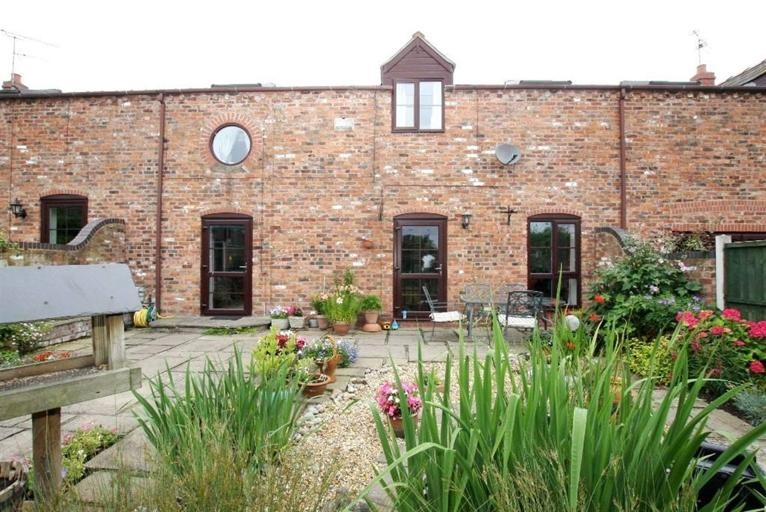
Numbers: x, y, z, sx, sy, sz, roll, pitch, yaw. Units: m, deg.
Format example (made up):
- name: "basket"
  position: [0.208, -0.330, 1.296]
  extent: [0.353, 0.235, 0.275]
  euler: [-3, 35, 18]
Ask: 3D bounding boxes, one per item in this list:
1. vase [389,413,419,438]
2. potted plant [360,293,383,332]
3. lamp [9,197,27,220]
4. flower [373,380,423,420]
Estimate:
- name: "vase"
  position: [0.390, 3.397, 13.232]
  extent: [0.616, 0.501, 0.652]
  euler: [0, -10, 5]
- name: "potted plant"
  position: [-0.299, 1.434, 17.659]
  extent: [0.768, 0.942, 0.795]
  euler: [1, -5, -21]
- name: "lamp"
  position: [-9.624, -1.253, 17.998]
  extent: [0.453, 0.555, 0.271]
  euler: [-1, -1, 5]
- name: "flower"
  position: [0.261, 2.798, 13.484]
  extent: [0.851, 0.635, 0.879]
  euler: [5, -5, -22]
